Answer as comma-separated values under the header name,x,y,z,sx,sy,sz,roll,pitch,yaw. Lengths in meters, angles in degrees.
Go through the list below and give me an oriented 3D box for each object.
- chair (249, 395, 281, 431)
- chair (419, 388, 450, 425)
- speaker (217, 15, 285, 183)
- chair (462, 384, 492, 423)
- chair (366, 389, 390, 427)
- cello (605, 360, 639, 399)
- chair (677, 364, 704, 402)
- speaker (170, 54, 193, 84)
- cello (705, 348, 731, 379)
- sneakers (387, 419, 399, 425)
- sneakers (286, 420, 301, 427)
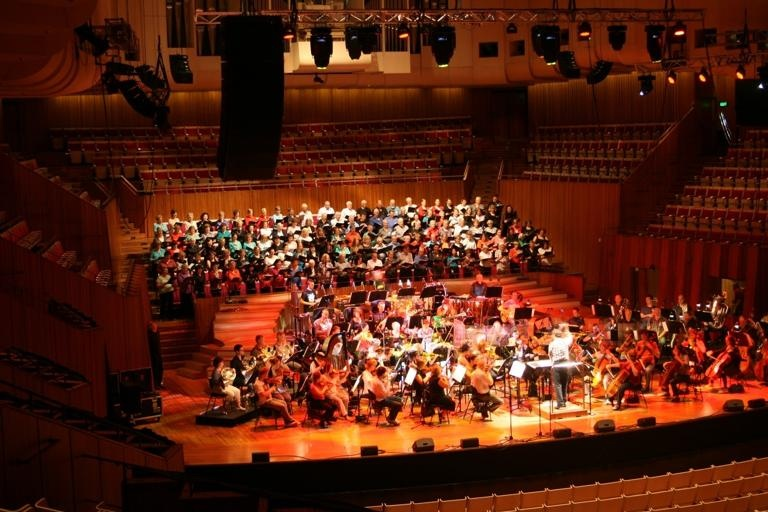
name,x,y,z,sx,sy,sz,roll,pitch,yaw
chair,-2.622,3.443,14.815,0.517,0.779,0.592,-3,2,10
chair,1.100,3.140,14.360,0.580,0.903,0.519,1,18,4
speaker,-1.818,-2.129,9.295,0.894,2.130,0.566,-4,19,-12
chair,1.980,3.096,14.689,0.608,0.970,0.726,-3,4,-4
chair,-0.126,3.178,14.582,0.443,0.927,0.748,0,19,-1
cello,5.259,2.706,14.811,0.601,0.655,0.328,-1,30,-22
chair,7.025,2.803,15.399,0.538,0.784,1.023,10,21,27
speaker,-5.822,-5.343,19.383,0.517,0.690,1.132,-5,19,-14
cello,7.768,2.512,15.661,0.219,0.579,0.571,24,-12,42
sneakers,0.210,3.526,14.348,0.246,0.115,0.097,1,46,4
sneakers,-1.930,3.579,14.522,0.114,0.157,0.391,0,0,24
